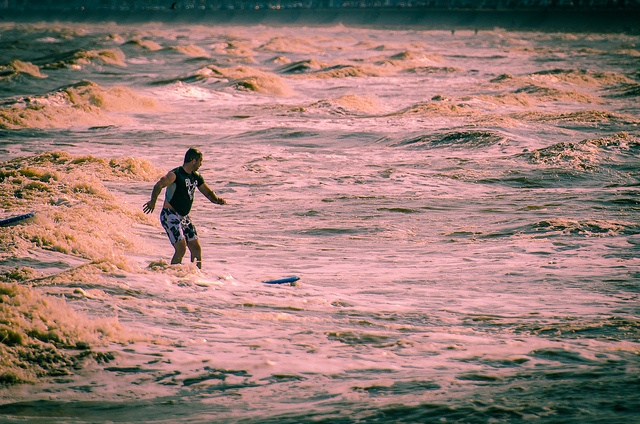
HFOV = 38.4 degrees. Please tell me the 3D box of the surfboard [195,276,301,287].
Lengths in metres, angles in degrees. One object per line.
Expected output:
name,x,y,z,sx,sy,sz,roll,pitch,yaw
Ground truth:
surfboard,-1.522,1.726,22.325,2.063,0.097,0.194,-3,-18,-17
